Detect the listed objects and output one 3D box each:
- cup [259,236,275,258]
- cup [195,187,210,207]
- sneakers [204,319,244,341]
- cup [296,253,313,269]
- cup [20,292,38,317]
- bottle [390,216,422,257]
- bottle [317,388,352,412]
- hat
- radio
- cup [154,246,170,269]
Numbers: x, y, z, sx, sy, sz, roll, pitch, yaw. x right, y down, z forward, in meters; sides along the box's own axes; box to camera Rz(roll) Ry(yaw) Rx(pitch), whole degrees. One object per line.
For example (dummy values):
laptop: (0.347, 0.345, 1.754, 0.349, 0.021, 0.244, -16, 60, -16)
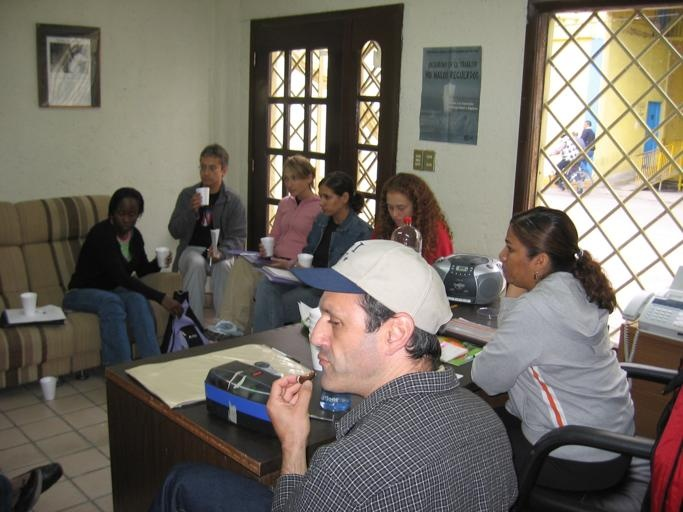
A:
cup: (-0.570, -0.067, 4.160, 0.129, 0.162, 0.126, 1, 9, 0)
cup: (-1.134, -0.483, 4.365, 0.128, 0.162, 0.148, 1, 3, -10)
sneakers: (-0.699, 0.447, 3.198, 0.157, 0.102, 0.260, 3, 2, 43)
cup: (-0.254, 0.033, 3.623, 0.103, 0.092, 0.109, 2, 17, -1)
cup: (-2.023, 0.312, 3.411, 0.074, 0.142, 0.103, -8, 15, -40)
bottle: (0.396, -0.076, 3.213, 0.215, 0.291, 0.227, 6, 0, 0)
bottle: (-0.023, 0.483, 1.786, 0.091, 0.100, 0.096, 3, -1, 17)
hat: (0.084, 0.061, 1.352, 0.399, 0.225, 0.293, 17, -10, -6)
radio: (0.680, 0.069, 2.804, 0.298, 0.191, 0.321, -13, 13, -41)
cup: (-1.329, 0.016, 3.947, 0.122, 0.146, 0.130, 6, 14, -1)
